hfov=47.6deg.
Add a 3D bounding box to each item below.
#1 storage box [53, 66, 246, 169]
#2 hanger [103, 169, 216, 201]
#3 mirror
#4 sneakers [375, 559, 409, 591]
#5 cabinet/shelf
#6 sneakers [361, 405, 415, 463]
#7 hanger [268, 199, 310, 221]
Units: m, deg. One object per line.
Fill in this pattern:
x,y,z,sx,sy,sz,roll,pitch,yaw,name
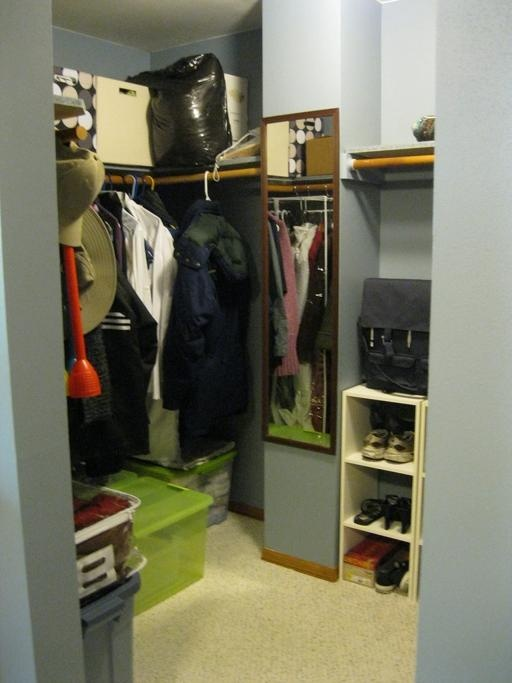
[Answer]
-0.474,-1.070,2.774,0.977,0.475,0.324,-4,7,-28,storage box
-0.459,-0.769,2.928,0.513,0.164,0.514,-1,7,-8,hanger
0.184,-0.356,2.460,0.348,1.294,0.035,-1,-7,14,mirror
0.571,0.996,2.457,0.066,0.081,0.196,5,14,37,sneakers
0.595,0.615,2.536,0.384,0.823,0.457,3,7,31,cabinet/shelf
0.586,0.392,2.532,0.179,0.123,0.273,1,7,20,sneakers
0.142,-0.557,2.455,0.122,0.115,0.031,10,22,33,hanger
